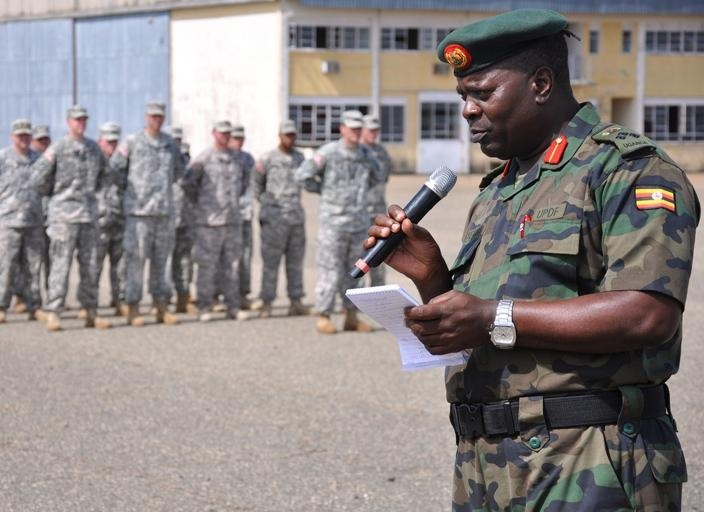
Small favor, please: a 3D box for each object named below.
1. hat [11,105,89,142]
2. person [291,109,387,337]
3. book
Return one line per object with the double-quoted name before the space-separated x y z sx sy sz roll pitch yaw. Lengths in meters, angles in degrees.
"hat" -1.564 -0.685 8.234 0.382 0.166 0.541 -1 5 -11
"person" -0.052 -0.275 11.017 0.606 1.409 0.476 0 17 -17
"book" 0.200 0.261 6.258 0.378 0.152 0.561 -11 -32 36
